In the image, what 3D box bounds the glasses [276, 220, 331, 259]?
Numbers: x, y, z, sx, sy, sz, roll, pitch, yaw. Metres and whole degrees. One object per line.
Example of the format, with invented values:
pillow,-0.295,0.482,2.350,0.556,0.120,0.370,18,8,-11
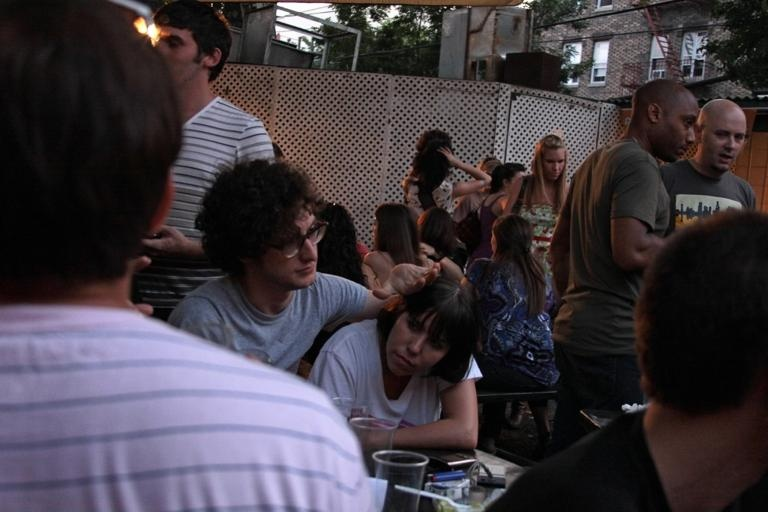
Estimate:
glasses,-0.328,-0.076,2.501,0.165,0.050,0.164,17,30,17
